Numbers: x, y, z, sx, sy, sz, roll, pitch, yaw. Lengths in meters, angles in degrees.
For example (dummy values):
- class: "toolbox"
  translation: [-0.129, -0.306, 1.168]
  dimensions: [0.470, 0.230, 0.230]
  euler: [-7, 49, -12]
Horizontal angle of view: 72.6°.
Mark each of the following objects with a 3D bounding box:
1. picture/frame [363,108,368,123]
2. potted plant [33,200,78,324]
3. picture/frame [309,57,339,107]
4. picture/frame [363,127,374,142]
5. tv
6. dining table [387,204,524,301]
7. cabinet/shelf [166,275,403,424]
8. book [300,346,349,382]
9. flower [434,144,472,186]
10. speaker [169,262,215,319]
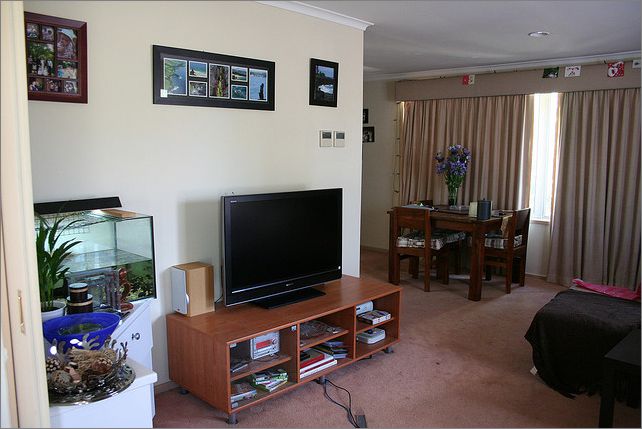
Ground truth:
- class: "picture/frame"
  translation: [0.747, -1.635, 7.265]
  dimensions: [0.094, 0.244, 0.024]
  euler: [7, 14, 28]
- class: "potted plant"
  translation: [-1.568, 0.265, 2.610]
  dimensions: [0.234, 0.562, 0.531]
  euler: [-6, 13, -24]
- class: "picture/frame"
  translation: [0.009, -1.220, 4.021]
  dimensions: [0.027, 0.523, 0.479]
  euler: [8, 9, 44]
- class: "picture/frame"
  translation: [0.789, -1.335, 7.256]
  dimensions: [0.290, 0.270, 0.028]
  euler: [9, 13, 39]
- class: "tv"
  translation: [-0.355, 0.278, 3.530]
  dimensions: [1.021, 0.722, 0.120]
  euler: [-3, 5, -44]
- class: "dining table"
  translation: [1.687, 0.262, 5.571]
  dimensions: [1.336, 0.970, 1.261]
  euler: [-5, 8, -43]
- class: "cabinet/shelf"
  translation: [-0.263, 1.026, 3.561]
  dimensions: [1.771, 0.644, 0.690]
  euler: [-8, 14, -33]
- class: "book"
  translation: [-0.013, 1.177, 3.496]
  dimensions: [0.232, 0.054, 0.229]
  euler: [-6, 5, -37]
- class: "flower"
  translation: [1.838, -0.677, 6.063]
  dimensions: [0.431, 0.543, 0.755]
  euler: [4, 13, 18]
- class: "speaker"
  translation: [-0.959, 0.551, 3.398]
  dimensions: [0.340, 0.483, 0.379]
  euler: [5, 7, 44]
